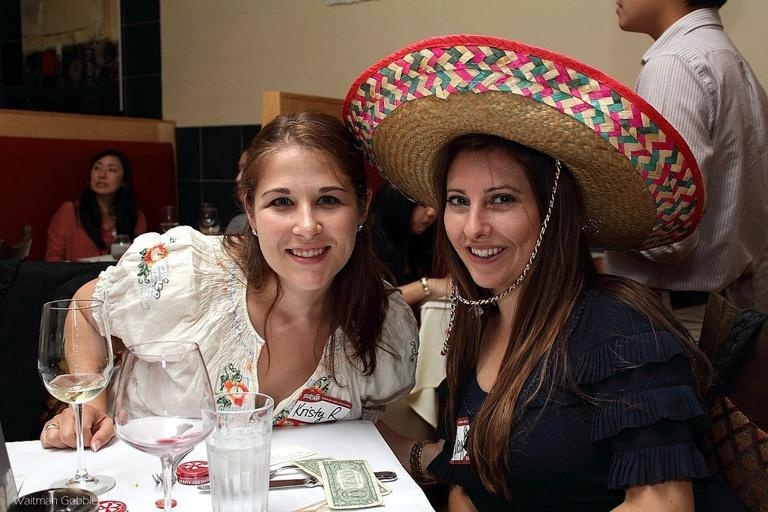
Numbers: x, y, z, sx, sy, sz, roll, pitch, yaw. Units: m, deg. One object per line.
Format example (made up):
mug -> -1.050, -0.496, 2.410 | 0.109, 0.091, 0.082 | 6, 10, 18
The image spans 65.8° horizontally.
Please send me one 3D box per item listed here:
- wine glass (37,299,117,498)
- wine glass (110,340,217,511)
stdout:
wine glass -> -0.784, 0.350, 1.529 | 0.170, 0.463, 0.352 | -4, 7, -31
wine glass -> -0.485, 0.318, 1.309 | 0.198, 0.227, 0.141 | -3, 7, -25
